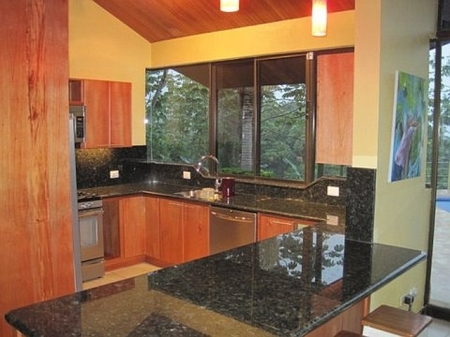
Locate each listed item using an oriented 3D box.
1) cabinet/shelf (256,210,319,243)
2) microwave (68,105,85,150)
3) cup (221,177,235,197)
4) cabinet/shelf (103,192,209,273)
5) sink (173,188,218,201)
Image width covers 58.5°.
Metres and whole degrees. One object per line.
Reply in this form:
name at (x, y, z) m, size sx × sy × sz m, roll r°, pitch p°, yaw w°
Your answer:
cabinet/shelf at (0.635, 0.513, 4.186) m, size 0.410 × 0.408 × 0.335 m, roll 3°, pitch 4°, yaw 40°
microwave at (-1.767, -0.538, 4.795) m, size 0.257 × 0.373 × 0.129 m, roll 1°, pitch 3°, yaw -6°
cup at (0.025, 0.230, 4.848) m, size 0.156 × 0.224 × 0.121 m, roll 0°, pitch 8°, yaw 1°
cabinet/shelf at (-0.869, 0.806, 4.977) m, size 1.091 × 0.856 × 1.072 m, roll -1°, pitch 1°, yaw -43°
sink at (-0.308, 0.329, 5.094) m, size 0.244 × 0.112 × 0.301 m, roll -2°, pitch 2°, yaw -38°
